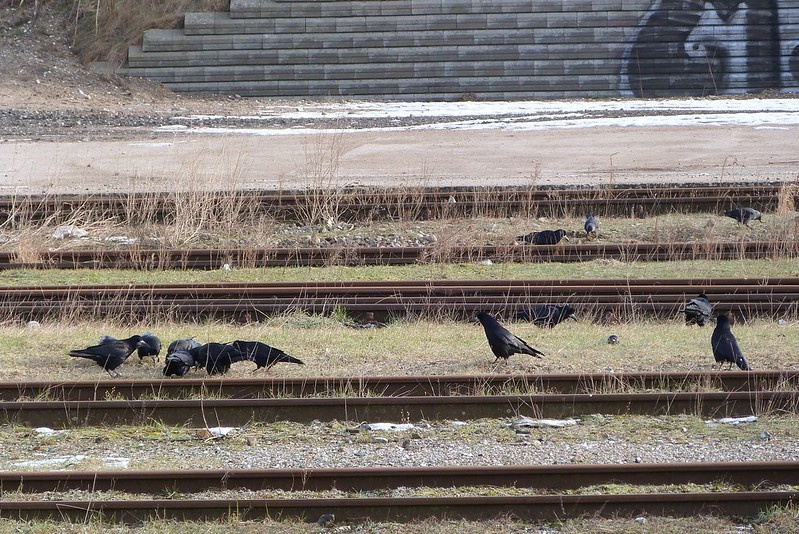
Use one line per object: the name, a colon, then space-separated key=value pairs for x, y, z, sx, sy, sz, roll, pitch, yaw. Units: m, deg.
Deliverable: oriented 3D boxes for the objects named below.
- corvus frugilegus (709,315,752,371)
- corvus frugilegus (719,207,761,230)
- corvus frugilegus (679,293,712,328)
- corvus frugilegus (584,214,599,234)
corvus frugilegus: x=8.965 y=2.078 z=53.945 sx=1.045 sy=1.462 sz=0.537 roll=0 pitch=13 yaw=19
corvus frugilegus: x=10.466 y=-1.492 z=60.189 sx=1.126 sy=0.571 sz=0.713 roll=-3 pitch=11 yaw=1
corvus frugilegus: x=8.419 y=1.250 z=55.918 sx=0.778 sy=0.846 sz=0.411 roll=-6 pitch=13 yaw=-10
corvus frugilegus: x=5.786 y=-1.218 z=59.758 sx=0.407 sy=0.634 sz=1.008 roll=-3 pitch=11 yaw=5
